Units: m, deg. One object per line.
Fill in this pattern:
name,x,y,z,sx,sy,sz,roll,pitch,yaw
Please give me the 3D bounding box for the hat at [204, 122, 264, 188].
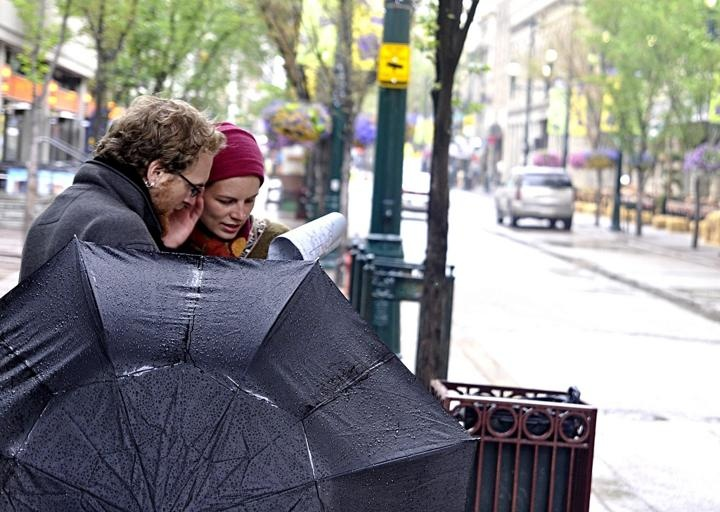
hat,-0.651,-0.535,5.523,0.228,0.306,0.327,3,-7,-9
